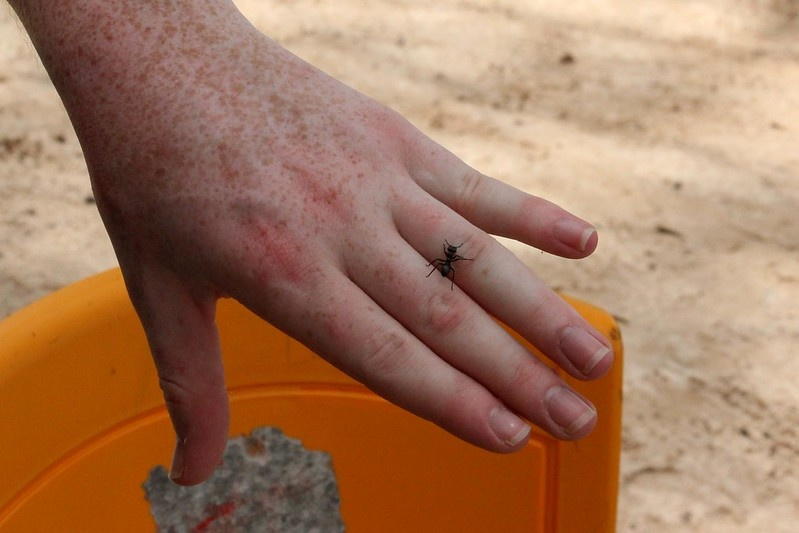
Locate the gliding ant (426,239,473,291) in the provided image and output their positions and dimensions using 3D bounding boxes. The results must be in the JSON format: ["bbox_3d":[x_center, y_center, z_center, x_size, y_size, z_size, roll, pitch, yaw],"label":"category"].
[{"bbox_3d":[0.154,-0.015,3.489,0.127,0.040,0.138,24,91,0],"label":"gliding ant"}]
